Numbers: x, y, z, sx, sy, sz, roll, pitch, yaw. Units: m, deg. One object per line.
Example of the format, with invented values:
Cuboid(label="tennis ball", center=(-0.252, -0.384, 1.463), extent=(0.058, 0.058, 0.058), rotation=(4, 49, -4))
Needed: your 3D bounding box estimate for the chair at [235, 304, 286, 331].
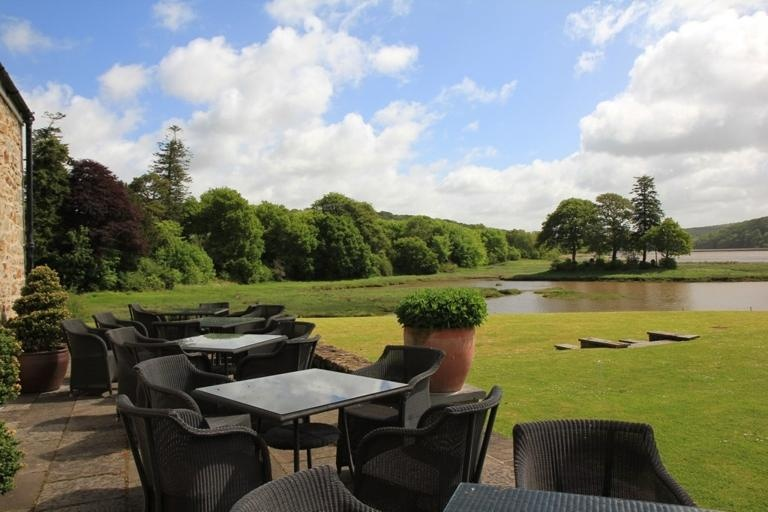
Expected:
Cuboid(label="chair", center=(-2.643, 1.310, 9.731), extent=(0.662, 0.607, 0.581), rotation=(8, -7, -39))

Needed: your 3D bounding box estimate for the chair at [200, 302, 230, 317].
Cuboid(label="chair", center=(-4.003, 1.286, 11.000), extent=(0.507, 0.177, 0.436), rotation=(0, -2, -5))

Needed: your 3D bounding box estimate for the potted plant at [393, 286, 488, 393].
Cuboid(label="potted plant", center=(0.895, 1.302, 7.532), extent=(1.961, 1.562, 1.524), rotation=(-1, 0, -2))

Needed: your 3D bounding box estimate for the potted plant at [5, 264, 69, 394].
Cuboid(label="potted plant", center=(-6.127, 1.277, 8.161), extent=(0.871, 2.245, 0.968), rotation=(-3, -3, -36))

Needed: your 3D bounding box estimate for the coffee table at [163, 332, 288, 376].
Cuboid(label="coffee table", center=(-2.305, 1.320, 6.876), extent=(1.108, 0.208, 1.024), rotation=(0, -1, 18))

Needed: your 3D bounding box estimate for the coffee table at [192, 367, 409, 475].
Cuboid(label="coffee table", center=(-0.865, 1.380, 4.664), extent=(1.384, 0.703, 1.613), rotation=(-1, -1, 40))

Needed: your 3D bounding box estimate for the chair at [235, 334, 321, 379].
Cuboid(label="chair", center=(-1.498, 1.375, 6.672), extent=(0.928, 0.814, 0.714), rotation=(1, -5, 4))

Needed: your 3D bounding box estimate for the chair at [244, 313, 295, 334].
Cuboid(label="chair", center=(-2.103, 1.288, 8.678), extent=(0.592, 0.529, 0.575), rotation=(4, -7, -29))

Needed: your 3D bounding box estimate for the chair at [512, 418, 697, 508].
Cuboid(label="chair", center=(1.745, 1.551, 3.895), extent=(0.952, 0.933, 0.830), rotation=(-3, -12, 10))
